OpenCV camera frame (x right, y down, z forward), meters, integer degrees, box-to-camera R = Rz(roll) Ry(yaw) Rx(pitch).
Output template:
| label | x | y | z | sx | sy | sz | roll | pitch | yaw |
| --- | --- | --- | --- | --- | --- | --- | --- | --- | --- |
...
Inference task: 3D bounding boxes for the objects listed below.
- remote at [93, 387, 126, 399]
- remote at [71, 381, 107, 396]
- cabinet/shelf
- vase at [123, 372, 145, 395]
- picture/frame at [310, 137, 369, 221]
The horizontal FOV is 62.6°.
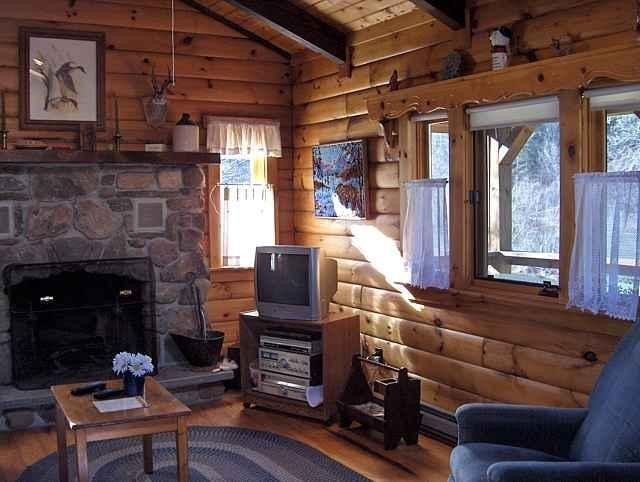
| label | x | y | z | sx | sy | sz | roll | pitch | yaw |
| --- | --- | --- | --- | --- | --- | --- | --- | --- | --- |
| remote | -1.335 | 0.964 | 3.349 | 0.068 | 0.030 | 0.126 | -3 | -1 | 41 |
| remote | -1.509 | 0.969 | 3.444 | 0.079 | 0.036 | 0.151 | 2 | 2 | 31 |
| cabinet/shelf | -0.193 | 1.062 | 4.621 | 1.108 | 0.870 | 0.453 | 2 | 6 | 24 |
| vase | -1.191 | 0.920 | 3.365 | 0.144 | 0.135 | 0.137 | 0 | 5 | -25 |
| picture/frame | 0.218 | -0.613 | 5.167 | 0.127 | 0.827 | 0.922 | -1 | 1 | -34 |
